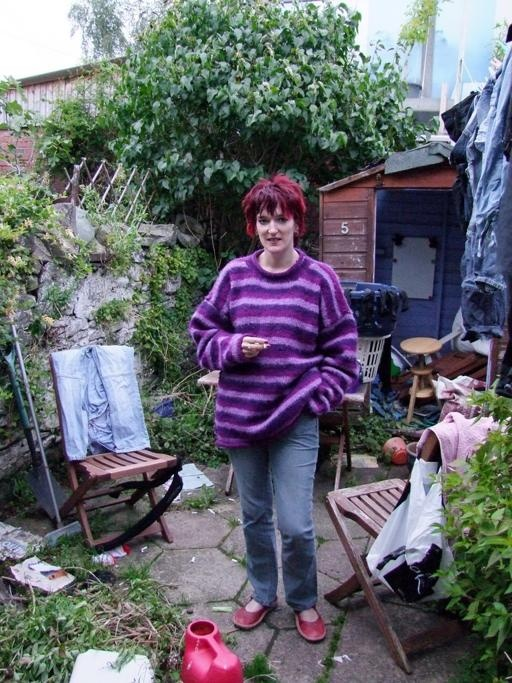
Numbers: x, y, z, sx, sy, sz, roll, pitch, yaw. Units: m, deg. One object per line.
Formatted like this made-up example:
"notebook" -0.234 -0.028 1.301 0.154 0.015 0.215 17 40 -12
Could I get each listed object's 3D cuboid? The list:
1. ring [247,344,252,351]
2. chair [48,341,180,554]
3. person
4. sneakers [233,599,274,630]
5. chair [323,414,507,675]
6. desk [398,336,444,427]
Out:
"ring" -0.022 0.017 1.738 0.013 0.012 0.013 6 -3 0
"chair" -0.858 0.593 3.073 0.695 1.122 0.953 -1 5 -22
"person" 0.060 0.290 1.988 0.501 1.809 0.443 -2 6 -32
"sneakers" -0.010 1.142 2.171 0.072 0.067 0.172 5 -5 39
"chair" 0.631 0.684 2.041 0.706 0.832 0.766 -1 2 -14
"desk" 1.932 0.485 5.857 0.428 0.731 0.411 -5 -5 -42
